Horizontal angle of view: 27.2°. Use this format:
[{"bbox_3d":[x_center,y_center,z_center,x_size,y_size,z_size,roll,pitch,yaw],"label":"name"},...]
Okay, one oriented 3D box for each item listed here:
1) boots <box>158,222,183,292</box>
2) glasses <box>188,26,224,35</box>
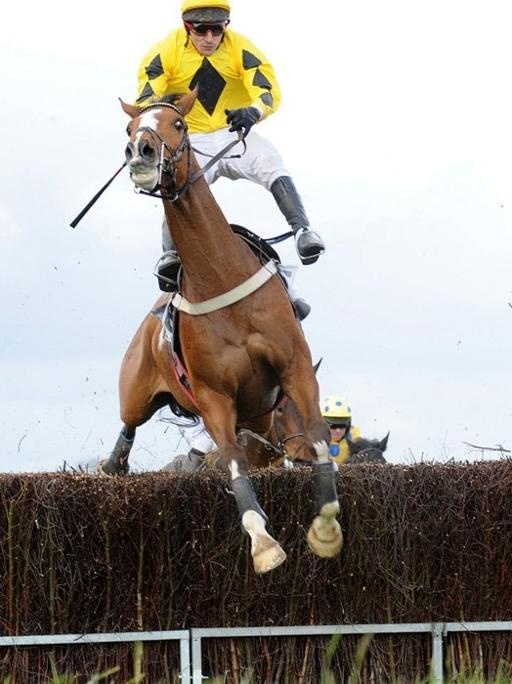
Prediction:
[{"bbox_3d":[-0.555,-0.465,6.315,0.184,0.336,0.134,3,5,-20],"label":"boots"},{"bbox_3d":[-0.350,-2.145,7.303,0.229,0.068,0.105,0,5,-1],"label":"glasses"}]
